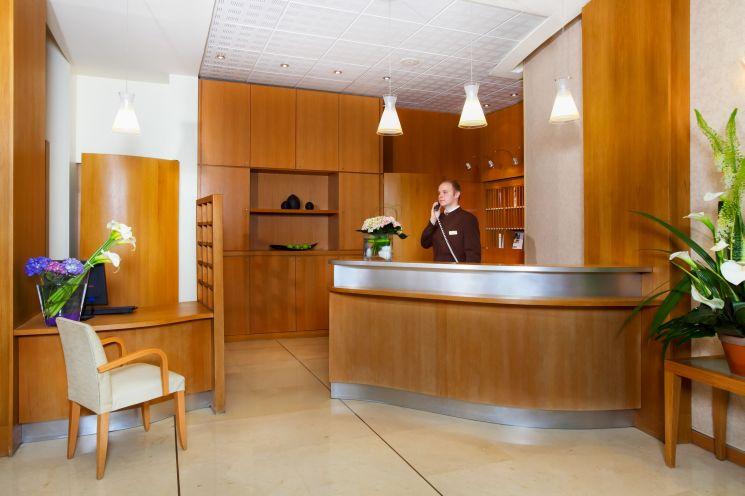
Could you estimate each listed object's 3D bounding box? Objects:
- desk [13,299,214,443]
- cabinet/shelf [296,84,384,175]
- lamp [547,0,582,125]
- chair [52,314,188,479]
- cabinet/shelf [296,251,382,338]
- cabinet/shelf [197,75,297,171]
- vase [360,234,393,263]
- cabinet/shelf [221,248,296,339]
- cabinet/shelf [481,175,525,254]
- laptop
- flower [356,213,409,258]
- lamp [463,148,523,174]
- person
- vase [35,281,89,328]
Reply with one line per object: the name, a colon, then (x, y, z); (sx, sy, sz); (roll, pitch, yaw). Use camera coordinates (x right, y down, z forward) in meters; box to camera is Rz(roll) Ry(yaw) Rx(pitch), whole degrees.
desk: (-2.766, 1.342, 5.959); (1.093, 1.050, 2.054); (-13, -7, 42)
cabinet/shelf: (-0.607, -1.974, 9.055); (1.384, 1.182, 0.476); (1, -3, -20)
lamp: (2.237, -2.154, 6.294); (0.327, 1.391, 1.336); (3, 10, 18)
chair: (-2.353, 1.288, 5.170); (0.982, 1.281, 0.884); (-1, 2, -41)
cabinet/shelf: (-0.511, 0.755, 8.958); (1.448, 1.339, 0.485); (-2, -11, 18)
cabinet/shelf: (-2.038, -1.981, 8.614); (1.413, 1.220, 0.466); (1, -4, -20)
vase: (0.049, 0.014, 6.333); (0.302, 0.286, 0.301); (1, -1, -43)
cabinet/shelf: (-1.810, 0.713, 8.495); (1.442, 1.327, 0.544); (-2, 2, -26)
cabinet/shelf: (2.309, -0.493, 9.776); (0.487, 1.531, 1.270); (-1, 10, -6)
laptop: (-2.945, 0.419, 5.625); (0.712, 0.324, 0.498); (5, -7, -40)
flower: (0.054, -0.060, 6.450); (0.492, 0.491, 0.451); (4, -15, -9)
lamp: (2.191, -1.589, 9.948); (0.510, 0.427, 1.365); (-4, 11, -21)
person: (0.986, -0.323, 6.923); (0.686, 1.024, 0.853); (0, 10, -2)
vase: (-3.137, 0.523, 5.529); (0.493, 0.445, 0.547); (5, 1, -7)
